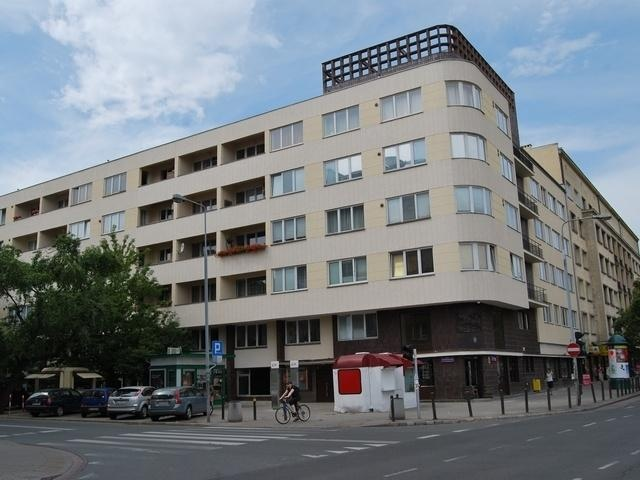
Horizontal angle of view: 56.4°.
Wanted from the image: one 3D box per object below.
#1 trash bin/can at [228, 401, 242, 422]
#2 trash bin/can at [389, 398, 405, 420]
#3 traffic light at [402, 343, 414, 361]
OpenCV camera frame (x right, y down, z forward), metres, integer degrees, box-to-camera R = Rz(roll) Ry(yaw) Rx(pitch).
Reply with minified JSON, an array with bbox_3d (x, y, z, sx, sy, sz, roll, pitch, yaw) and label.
[{"bbox_3d":[-4.483,8.916,30.971,0.850,0.945,0.873,3,-14,-21],"label":"trash bin/can"},{"bbox_3d":[3.612,8.014,28.255,0.663,1.106,1.015,-4,-18,4],"label":"trash bin/can"},{"bbox_3d":[4.183,5.382,28.416,0.419,0.592,1.260,-6,-19,12],"label":"traffic light"}]
